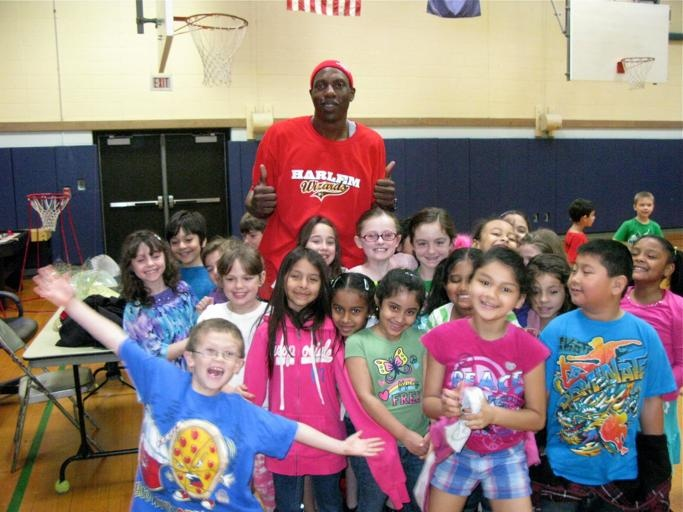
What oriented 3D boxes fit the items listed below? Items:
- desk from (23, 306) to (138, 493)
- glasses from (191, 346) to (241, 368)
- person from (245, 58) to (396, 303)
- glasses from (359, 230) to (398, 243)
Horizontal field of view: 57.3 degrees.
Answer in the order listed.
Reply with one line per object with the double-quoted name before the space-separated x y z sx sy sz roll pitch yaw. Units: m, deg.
"desk" -1.947 0.833 4.581 0.860 1.058 1.434 -3 13 -14
"glasses" -0.585 0.473 2.956 0.227 0.087 0.073 -3 7 -16
"person" -0.141 -0.116 4.369 0.871 2.251 0.683 3 20 -5
"glasses" 0.242 -0.125 3.936 0.214 0.063 0.046 -1 7 -2
